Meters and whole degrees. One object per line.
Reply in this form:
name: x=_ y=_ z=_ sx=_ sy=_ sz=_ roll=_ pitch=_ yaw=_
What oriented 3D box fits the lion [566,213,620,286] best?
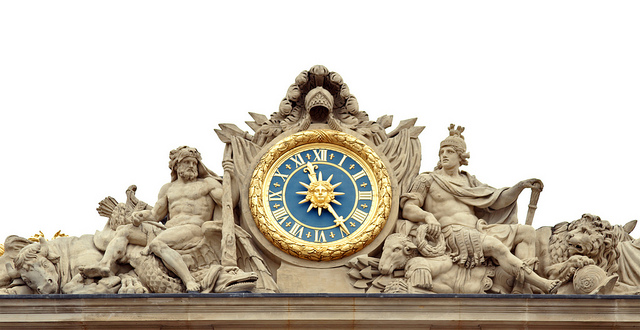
lion: x=5.804 y=2.027 z=31.377 sx=1.103 sy=1.074 sz=2.304 roll=5 pitch=-91 yaw=-11

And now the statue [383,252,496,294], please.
statue: x=2.582 y=2.466 z=31.804 sx=2.341 sy=0.915 sz=0.514 roll=1 pitch=-55 yaw=-3

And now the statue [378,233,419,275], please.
statue: x=1.611 y=2.028 z=31.955 sx=0.579 sy=0.708 sz=1.027 roll=1 pitch=-89 yaw=23

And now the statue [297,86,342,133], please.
statue: x=-0.199 y=-1.347 z=33.186 sx=0.858 sy=0.655 sz=1.232 roll=-1 pitch=-91 yaw=-10

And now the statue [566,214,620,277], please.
statue: x=5.803 y=1.927 z=31.392 sx=1.228 sy=1.027 sz=2.146 roll=3 pitch=-90 yaw=20

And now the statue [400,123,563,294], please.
statue: x=3.489 y=1.004 z=32.576 sx=3.810 sy=2.331 sz=3.616 roll=4 pitch=-86 yaw=13

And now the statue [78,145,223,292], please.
statue: x=-3.813 y=1.137 z=32.259 sx=3.601 sy=2.428 sz=3.174 roll=5 pitch=-97 yaw=-13

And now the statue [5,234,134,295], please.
statue: x=-5.785 y=2.334 z=31.896 sx=2.474 sy=1.727 sz=0.769 roll=10 pitch=-56 yaw=-9

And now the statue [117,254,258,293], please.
statue: x=-2.981 y=2.519 z=31.582 sx=2.973 sy=1.576 sz=0.775 roll=0 pitch=-89 yaw=-12
